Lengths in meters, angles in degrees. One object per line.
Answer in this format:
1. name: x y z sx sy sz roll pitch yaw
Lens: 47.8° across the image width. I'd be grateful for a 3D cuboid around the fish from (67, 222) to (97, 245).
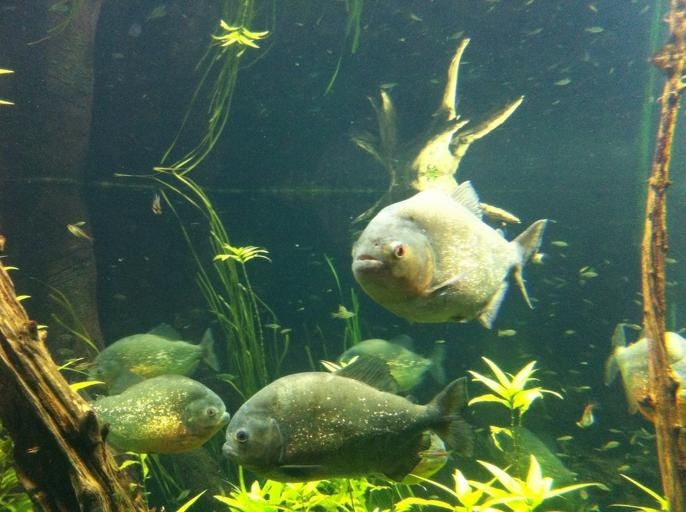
1. fish: -3.074 -0.288 8.974 0.156 0.248 0.336 15 -5 9
